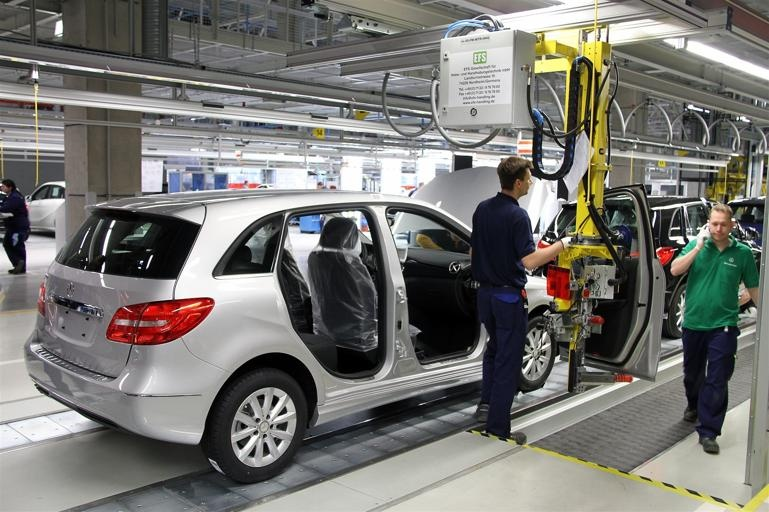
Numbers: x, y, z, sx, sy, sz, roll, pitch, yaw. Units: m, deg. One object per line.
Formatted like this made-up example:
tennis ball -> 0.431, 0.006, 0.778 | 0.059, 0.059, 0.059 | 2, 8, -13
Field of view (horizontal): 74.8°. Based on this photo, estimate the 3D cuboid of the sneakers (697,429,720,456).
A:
sneakers -> 2.853, 1.632, 4.381 | 0.143, 0.148, 0.174 | 2, 7, 10

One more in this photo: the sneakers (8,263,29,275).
sneakers -> -9.047, 0.365, 12.370 | 0.584, 0.238, 0.193 | -3, -8, 27

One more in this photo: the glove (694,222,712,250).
glove -> 2.932, -0.180, 4.604 | 0.143, 0.238, 0.075 | 3, -6, 37

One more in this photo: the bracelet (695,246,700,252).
bracelet -> 2.845, -0.063, 4.546 | 0.046, 0.039, 0.033 | -17, 1, -15

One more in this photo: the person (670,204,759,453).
person -> 2.936, 0.610, 4.560 | 0.623, 2.137, 0.573 | -4, 8, -34

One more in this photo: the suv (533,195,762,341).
suv -> 4.370, -0.086, 8.041 | 3.851, 1.534, 2.015 | -7, 6, -37

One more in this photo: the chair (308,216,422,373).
chair -> -0.171, 0.353, 5.113 | 0.878, 1.384, 1.141 | 8, 9, 39

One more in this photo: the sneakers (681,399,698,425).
sneakers -> 3.003, 1.551, 4.912 | 0.079, 0.161, 0.236 | -1, -3, 38

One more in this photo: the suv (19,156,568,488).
suv -> -0.493, 0.462, 5.636 | 3.009, 2.003, 5.422 | 5, 6, 43
